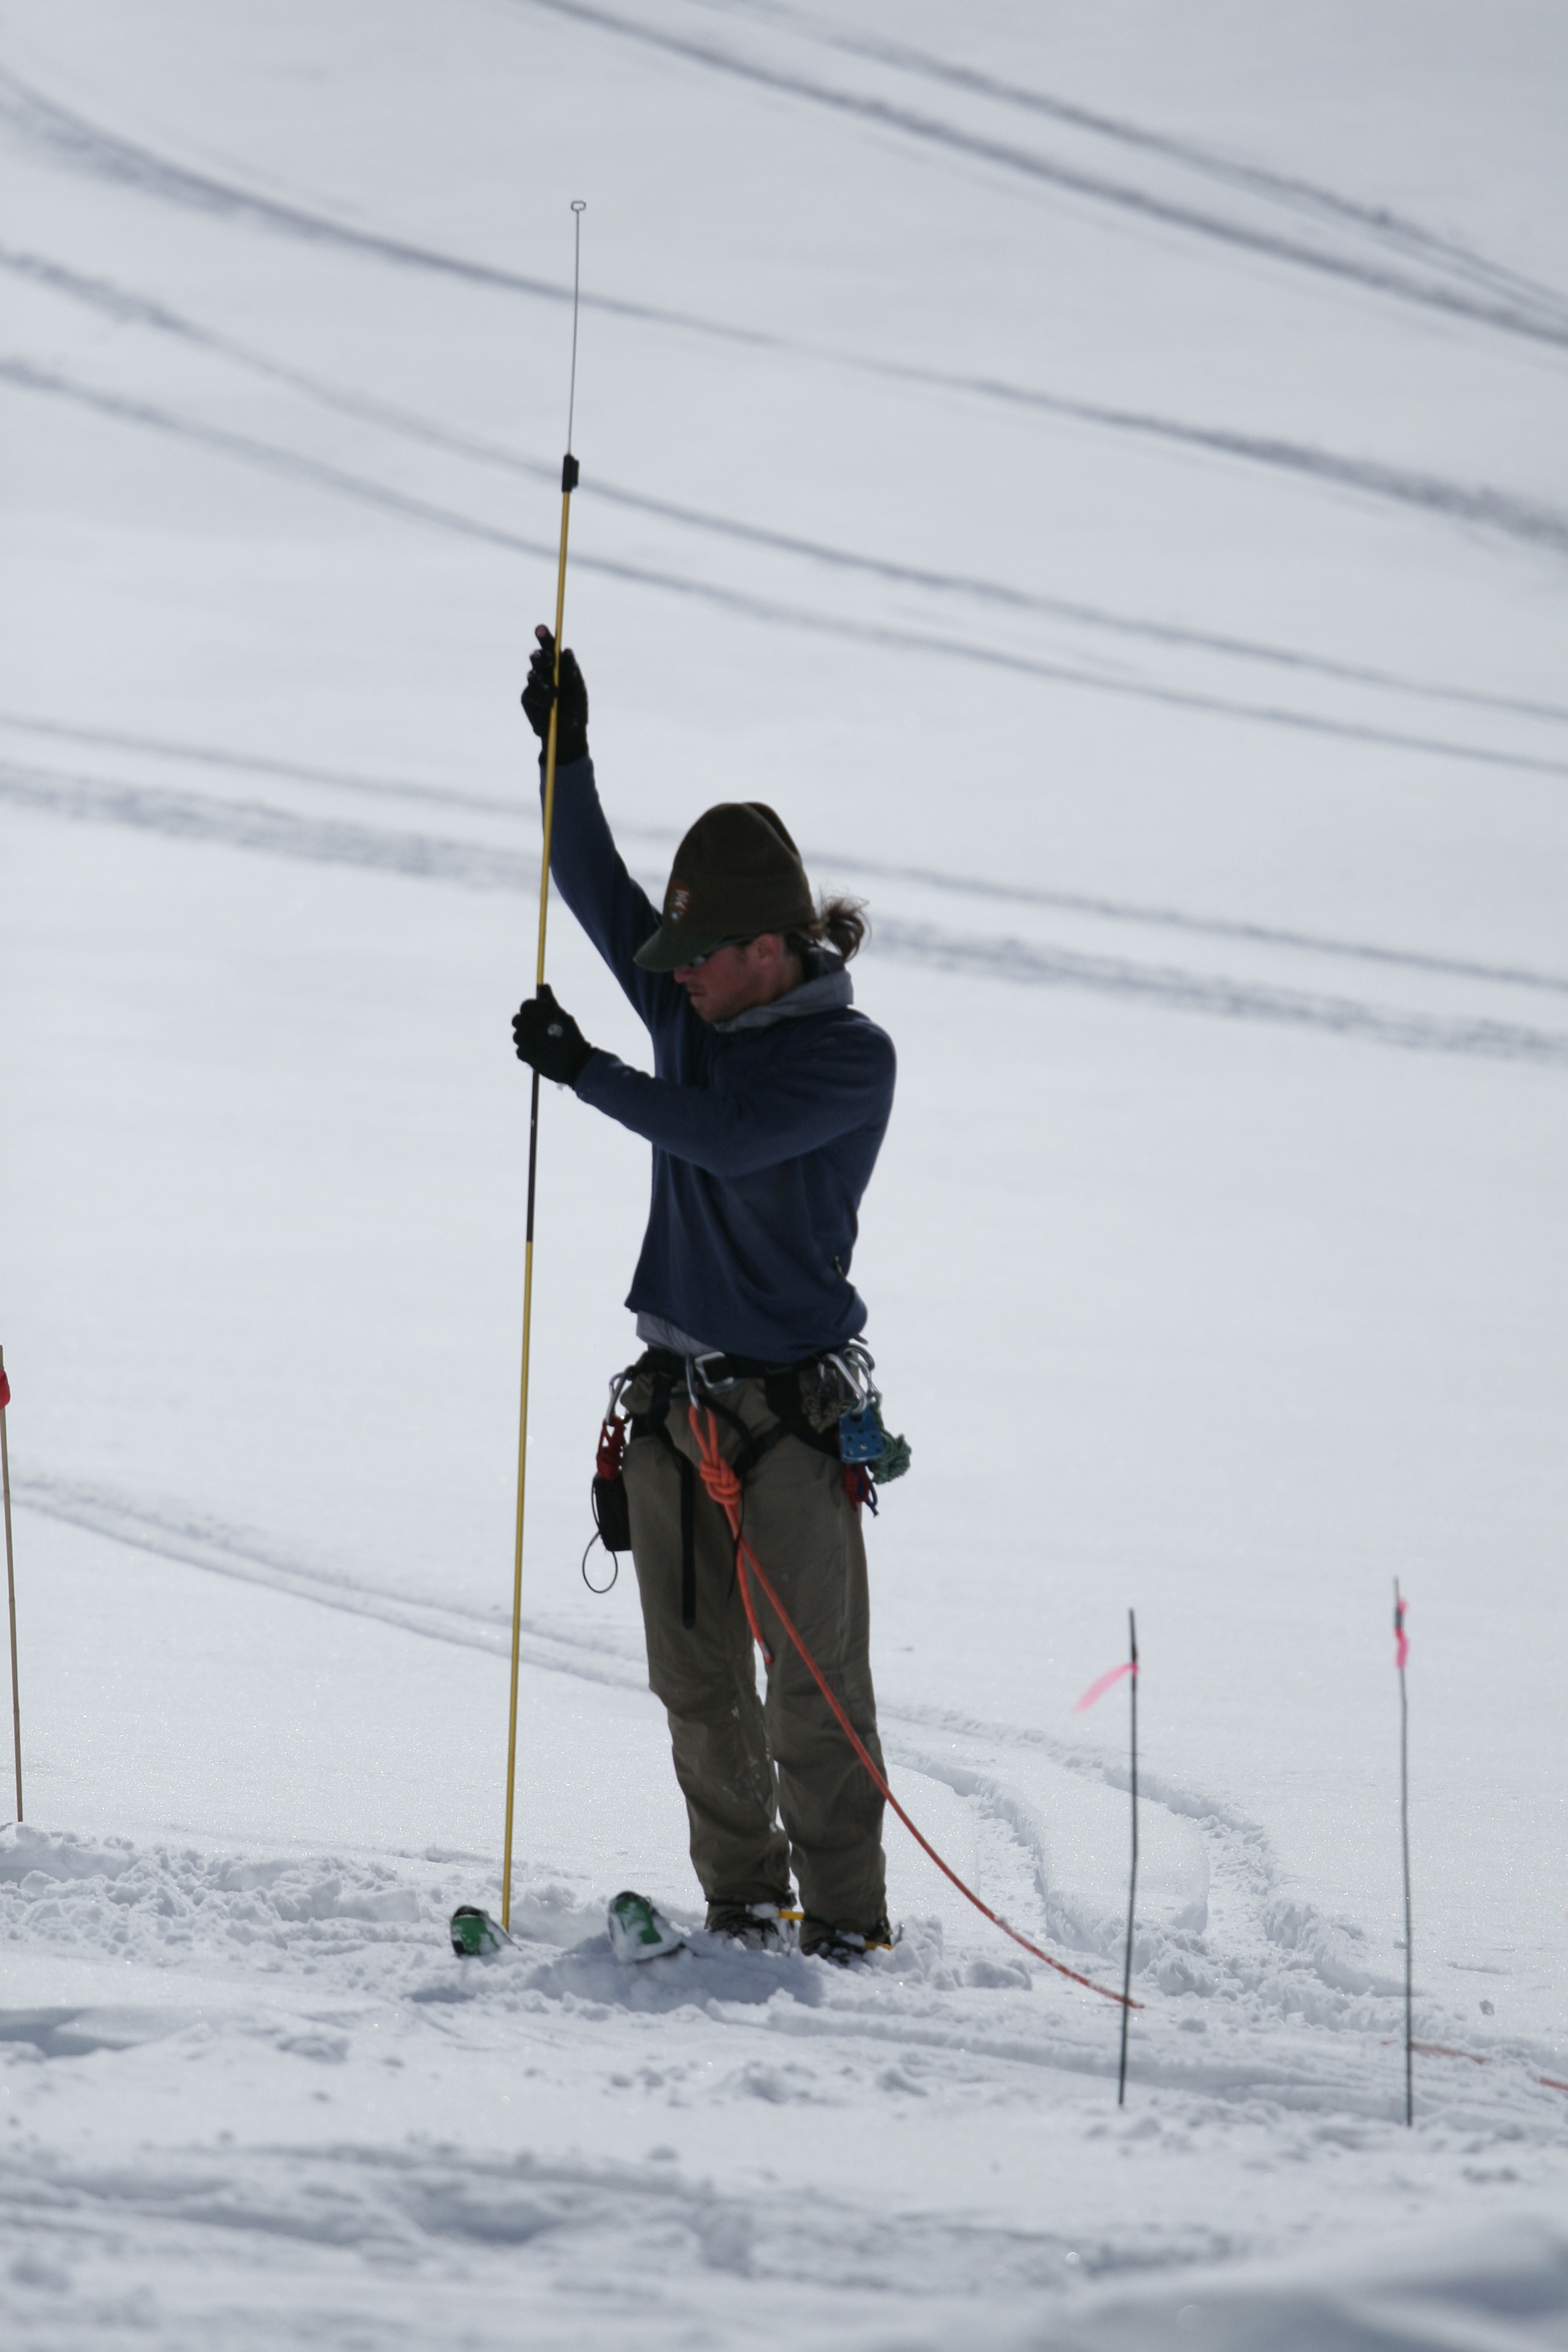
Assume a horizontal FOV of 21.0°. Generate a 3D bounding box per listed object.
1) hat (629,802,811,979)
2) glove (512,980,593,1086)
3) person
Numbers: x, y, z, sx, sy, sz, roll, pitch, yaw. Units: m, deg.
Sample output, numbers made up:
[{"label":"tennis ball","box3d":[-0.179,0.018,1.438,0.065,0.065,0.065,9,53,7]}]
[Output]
[{"label":"hat","box3d":[-0.095,-0.511,7.238,0.349,0.248,0.240,-16,22,-21]},{"label":"glove","box3d":[-0.387,-0.233,7.058,0.122,0.163,0.276,0,2,-23]},{"label":"person","box3d":[-0.114,0.287,7.254,0.743,2.067,0.743,2,2,18]}]
